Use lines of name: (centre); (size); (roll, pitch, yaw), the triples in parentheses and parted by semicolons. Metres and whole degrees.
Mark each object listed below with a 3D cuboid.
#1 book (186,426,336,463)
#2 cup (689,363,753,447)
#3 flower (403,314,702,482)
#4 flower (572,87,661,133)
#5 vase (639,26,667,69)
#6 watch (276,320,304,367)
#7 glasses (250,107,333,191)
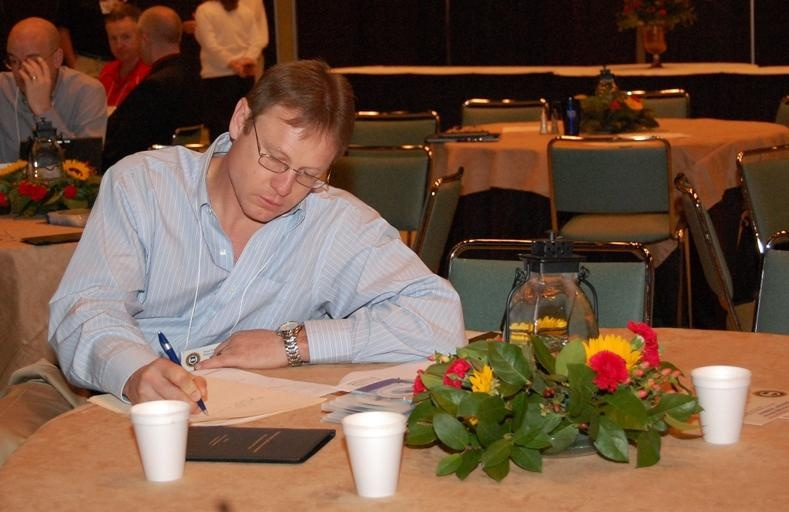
book: (-0.258, 0.370, 1.335); (0.279, 0.019, 0.150); (-3, 11, 16)
cup: (0.617, 0.279, 1.375); (0.149, 0.154, 0.149); (-5, 10, 1)
flower: (0.281, 0.246, 1.223); (0.401, 0.145, 0.311); (-5, 18, -10)
flower: (1.450, -0.921, 4.481); (0.361, 0.159, 0.353); (-4, 13, -32)
vase: (2.591, -2.099, 6.792); (0.325, 0.391, 0.328); (8, 17, 40)
watch: (-0.266, 0.235, 1.829); (0.067, 0.105, 0.103); (-9, 18, -3)
glasses: (-0.265, -0.277, 1.778); (0.181, 0.052, 0.180); (20, 17, -43)
